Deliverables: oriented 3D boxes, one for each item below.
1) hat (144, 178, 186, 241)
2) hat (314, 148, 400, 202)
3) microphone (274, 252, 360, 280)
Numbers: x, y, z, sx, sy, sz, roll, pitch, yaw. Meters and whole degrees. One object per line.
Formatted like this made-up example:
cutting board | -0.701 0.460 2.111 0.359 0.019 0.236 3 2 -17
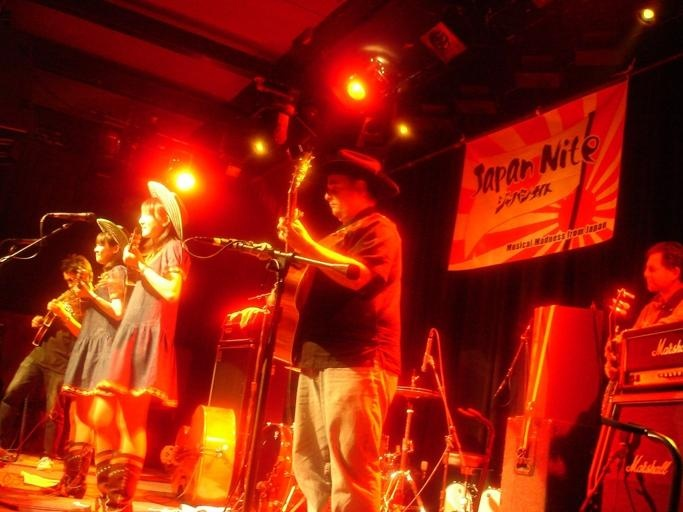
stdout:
hat | -1.440 -0.388 4.848 0.114 0.427 0.406 -18 13 -14
hat | 0.174 -0.560 4.169 0.579 0.228 0.493 30 -6 -25
microphone | -0.140 0.055 3.609 0.464 0.080 0.068 14 -28 38
